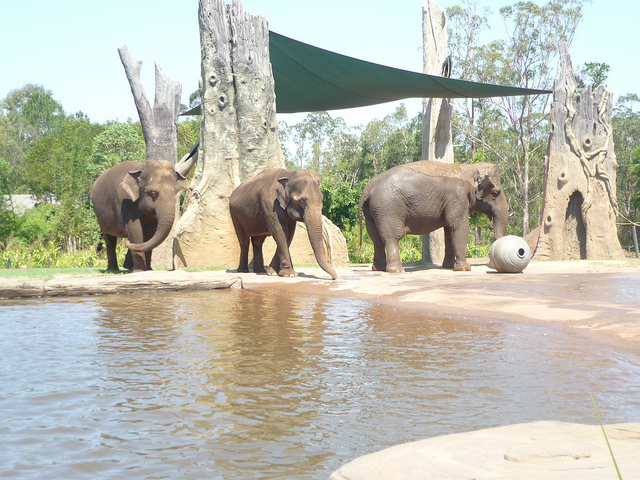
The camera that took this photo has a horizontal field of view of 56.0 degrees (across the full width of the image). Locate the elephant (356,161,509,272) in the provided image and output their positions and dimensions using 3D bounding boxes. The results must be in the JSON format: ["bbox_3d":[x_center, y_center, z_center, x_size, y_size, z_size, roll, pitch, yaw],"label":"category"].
[{"bbox_3d":[2.363,-0.475,12.173,2.964,2.357,1.296,-1,11,-5],"label":"elephant"}]

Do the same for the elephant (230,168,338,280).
[{"bbox_3d":[-0.778,-0.294,11.427,2.675,2.110,1.043,3,5,40],"label":"elephant"}]

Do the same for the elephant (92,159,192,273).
[{"bbox_3d":[-3.611,-0.394,11.982,1.329,2.209,2.811,1,0,-41],"label":"elephant"}]
